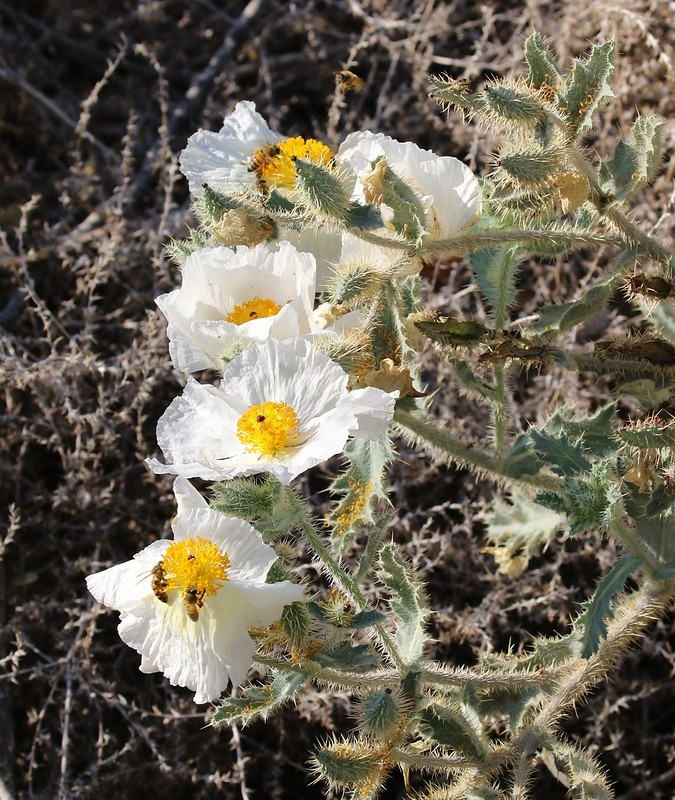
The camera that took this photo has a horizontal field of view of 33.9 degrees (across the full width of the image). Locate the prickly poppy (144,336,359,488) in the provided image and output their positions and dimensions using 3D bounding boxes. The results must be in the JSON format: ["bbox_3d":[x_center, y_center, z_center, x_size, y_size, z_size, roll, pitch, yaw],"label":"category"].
[{"bbox_3d":[-0.143,0.046,2.191,0.362,0.119,0.363,1,36,14],"label":"prickly poppy"}]

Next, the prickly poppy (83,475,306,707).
[{"bbox_3d":[-0.268,0.374,2.199,0.387,0.154,0.445,-12,18,-42],"label":"prickly poppy"}]

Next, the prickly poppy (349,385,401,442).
[{"bbox_3d":[0.059,0.030,2.251,0.094,0.105,0.222,13,-6,0],"label":"prickly poppy"}]
